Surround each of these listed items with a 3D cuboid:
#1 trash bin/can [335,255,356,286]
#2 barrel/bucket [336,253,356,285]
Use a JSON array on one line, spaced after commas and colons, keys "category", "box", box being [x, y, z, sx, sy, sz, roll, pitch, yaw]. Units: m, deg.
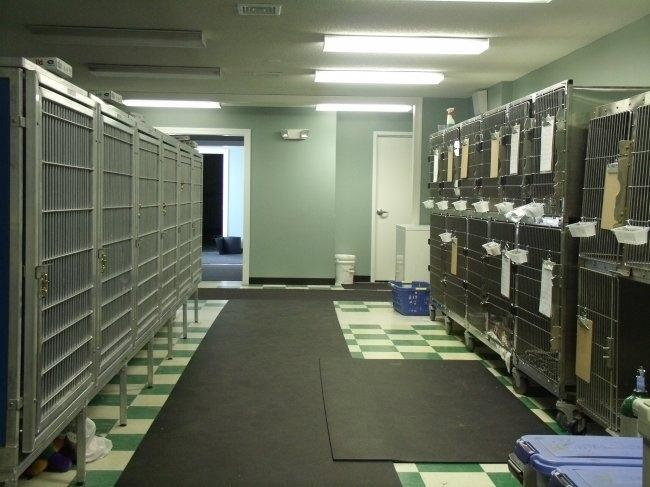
[{"category": "trash bin/can", "box": [0.335, 0.439, 8.931, 0.334, 0.488, 0.295, 0, 6, -2]}, {"category": "barrel/bucket", "box": [0.341, 0.439, 8.886, 0.437, 0.477, 0.439, -1, -1, 0]}]
